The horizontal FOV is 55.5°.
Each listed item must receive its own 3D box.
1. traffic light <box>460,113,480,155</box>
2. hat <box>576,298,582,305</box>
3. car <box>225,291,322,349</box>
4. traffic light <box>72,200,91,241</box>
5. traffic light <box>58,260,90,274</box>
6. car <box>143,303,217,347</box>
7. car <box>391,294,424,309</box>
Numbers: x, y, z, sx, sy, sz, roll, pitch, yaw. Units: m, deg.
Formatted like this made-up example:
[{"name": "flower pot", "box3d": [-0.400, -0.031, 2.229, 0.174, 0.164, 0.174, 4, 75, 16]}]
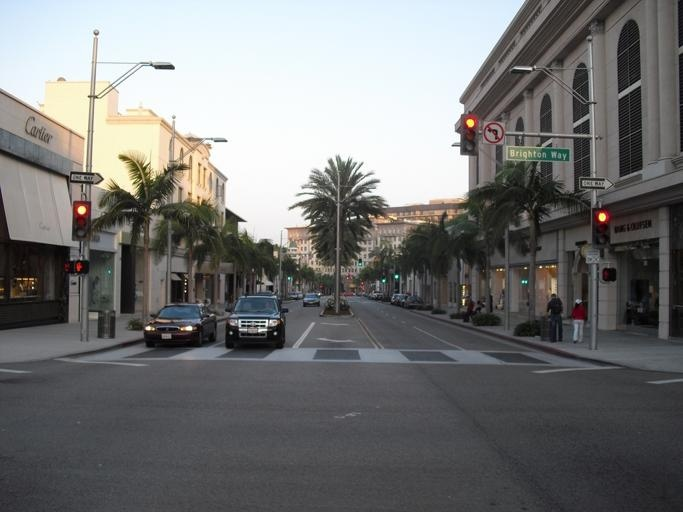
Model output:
[{"name": "traffic light", "box3d": [3.839, -3.628, 19.433, 0.548, 0.227, 1.426, 2, -47, 14]}, {"name": "hat", "box3d": [10.294, 1.936, 28.172, 0.315, 0.179, 0.487, -2, -6, 13]}, {"name": "car", "box3d": [-3.038, 2.390, 23.269, 2.087, 1.843, 2.094, 1, 1, -8]}, {"name": "traffic light", "box3d": [-8.981, -1.259, 22.359, 0.555, 1.336, 0.316, 0, 2, -30]}, {"name": "traffic light", "box3d": [-9.332, 0.350, 22.935, 0.921, 0.552, 0.486, 2, 1, 39]}, {"name": "car", "box3d": [-5.932, 2.540, 23.918, 1.915, 1.532, 2.645, 1, 1, 7]}, {"name": "car", "box3d": [7.342, 5.131, 73.826, 1.332, 1.102, 5.560, 1, 1, -8]}]
